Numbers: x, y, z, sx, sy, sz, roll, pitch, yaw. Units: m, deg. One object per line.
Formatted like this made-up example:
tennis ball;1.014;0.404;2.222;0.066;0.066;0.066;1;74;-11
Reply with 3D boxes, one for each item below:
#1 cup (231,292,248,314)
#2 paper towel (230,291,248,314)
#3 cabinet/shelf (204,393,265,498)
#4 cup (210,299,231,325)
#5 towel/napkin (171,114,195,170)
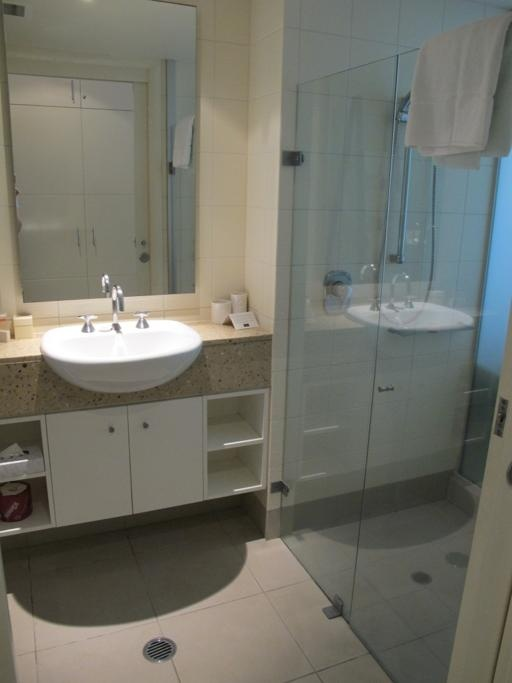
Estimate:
cup;-0.075;-0.177;2.328;0.075;0.101;0.076;1;7;0
paper towel;-0.079;-0.178;2.329;0.076;0.101;0.081;-4;9;-29
cabinet/shelf;-0.098;0.402;2.366;0.262;0.483;0.388;0;12;-6
cup;-0.160;-0.132;2.309;0.075;0.103;0.098;5;27;-2
towel/napkin;-0.307;-0.824;2.165;0.117;0.193;0.044;2;6;15
